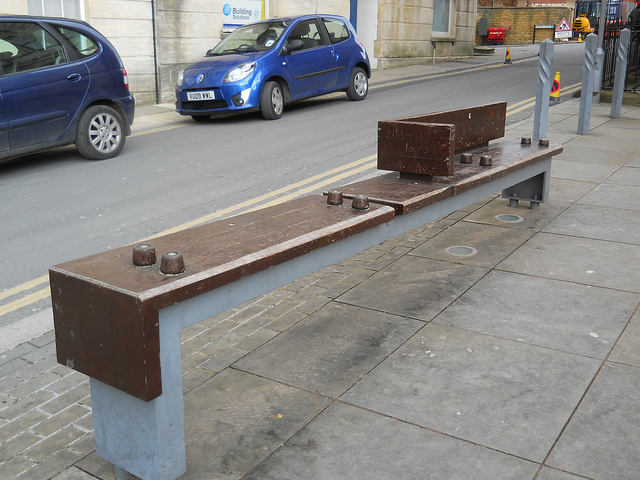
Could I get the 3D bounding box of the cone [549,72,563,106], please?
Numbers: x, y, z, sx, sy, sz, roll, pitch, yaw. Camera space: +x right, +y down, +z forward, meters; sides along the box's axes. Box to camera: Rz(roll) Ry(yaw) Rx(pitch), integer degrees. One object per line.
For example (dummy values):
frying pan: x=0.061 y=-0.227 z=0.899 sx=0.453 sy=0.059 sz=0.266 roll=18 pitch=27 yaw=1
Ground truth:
cone: x=6.160 y=-3.947 z=13.897 sx=0.308 sy=0.745 sz=1.235 roll=8 pitch=24 yaw=22

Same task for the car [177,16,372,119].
car: x=-1.123 y=-4.200 z=12.873 sx=1.679 sy=2.131 sz=4.796 roll=18 pitch=29 yaw=40
